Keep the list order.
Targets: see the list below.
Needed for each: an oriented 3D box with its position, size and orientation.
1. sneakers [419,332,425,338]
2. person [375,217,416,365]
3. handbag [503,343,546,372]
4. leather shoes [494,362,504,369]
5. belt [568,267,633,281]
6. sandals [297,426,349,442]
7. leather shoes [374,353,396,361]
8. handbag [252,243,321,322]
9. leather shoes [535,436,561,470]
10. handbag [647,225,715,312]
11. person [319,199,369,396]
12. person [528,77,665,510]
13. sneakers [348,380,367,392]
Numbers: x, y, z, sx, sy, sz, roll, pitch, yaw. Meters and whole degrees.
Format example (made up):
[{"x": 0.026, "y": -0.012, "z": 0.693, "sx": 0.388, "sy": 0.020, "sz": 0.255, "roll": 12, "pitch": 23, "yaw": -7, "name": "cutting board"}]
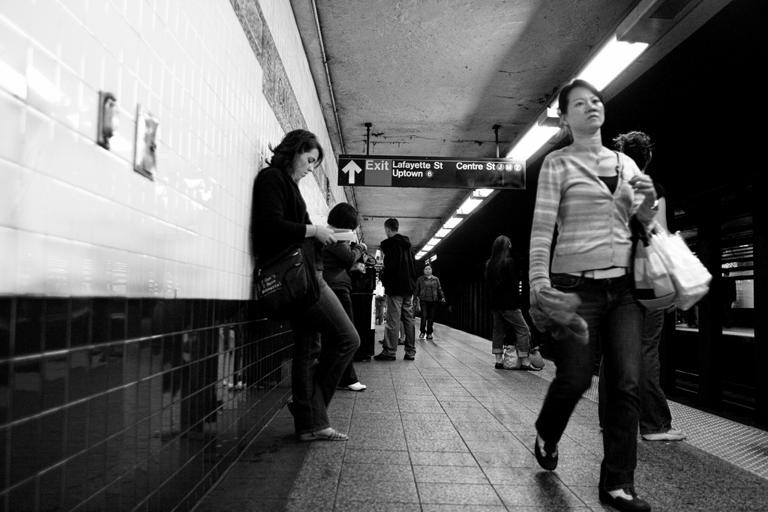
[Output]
[{"x": 0.948, "y": 2.001, "z": 13.015, "sx": 0.178, "sy": 0.086, "sz": 0.172, "roll": -2, "pitch": -2, "yaw": 6, "name": "sneakers"}, {"x": 0.172, "y": 0.517, "z": 8.207, "sx": 0.617, "sy": 2.246, "sz": 0.588, "roll": -1, "pitch": -4, "yaw": 2, "name": "person"}, {"x": 1.991, "y": 1.458, "z": 7.391, "sx": 0.527, "sy": 0.262, "sz": 0.301, "roll": 9, "pitch": -5, "yaw": -10, "name": "handbag"}, {"x": 1.645, "y": 1.560, "z": 7.408, "sx": 0.098, "sy": 0.094, "sz": 0.231, "roll": 0, "pitch": -14, "yaw": 3, "name": "leather shoes"}, {"x": 1.161, "y": 0.093, "z": 2.804, "sx": 0.292, "sy": 0.063, "sz": 0.062, "roll": -2, "pitch": -4, "yaw": 19, "name": "belt"}, {"x": -0.449, "y": 1.268, "z": 3.778, "sx": 0.376, "sy": 0.139, "sz": 0.124, "roll": 0, "pitch": -3, "yaw": -6, "name": "sandals"}, {"x": 0.006, "y": 1.559, "z": 7.959, "sx": 0.349, "sy": 0.140, "sz": 0.122, "roll": 8, "pitch": -8, "yaw": -11, "name": "leather shoes"}, {"x": -0.667, "y": 0.177, "z": 3.471, "sx": 0.344, "sy": 0.449, "sz": 0.258, "roll": -28, "pitch": -41, "yaw": 10, "name": "handbag"}, {"x": 0.988, "y": 1.200, "z": 3.143, "sx": 0.102, "sy": 0.265, "sz": 0.107, "roll": -3, "pitch": -1, "yaw": -16, "name": "leather shoes"}, {"x": 1.528, "y": 0.071, "z": 2.698, "sx": 0.268, "sy": 0.391, "sz": 0.166, "roll": 1, "pitch": -4, "yaw": -22, "name": "handbag"}, {"x": -0.449, "y": 0.452, "z": 5.672, "sx": 0.645, "sy": 2.126, "sz": 0.611, "roll": -2, "pitch": 4, "yaw": -21, "name": "person"}, {"x": 1.151, "y": 0.147, "z": 2.864, "sx": 0.665, "sy": 2.352, "sz": 0.563, "roll": -2, "pitch": -4, "yaw": 15, "name": "person"}, {"x": -0.284, "y": 1.411, "z": 5.561, "sx": 0.212, "sy": 0.084, "sz": 0.075, "roll": 0, "pitch": -1, "yaw": 1, "name": "sneakers"}]
